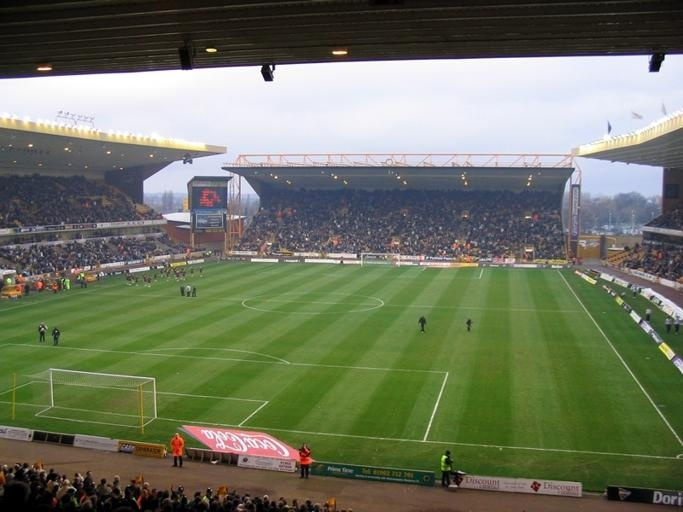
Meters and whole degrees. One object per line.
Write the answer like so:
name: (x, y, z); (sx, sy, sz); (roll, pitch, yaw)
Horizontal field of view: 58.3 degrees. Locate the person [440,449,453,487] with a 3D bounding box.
person: (3.559, 7.088, 20.752); (0.337, 1.223, 0.639); (1, 11, 7)
